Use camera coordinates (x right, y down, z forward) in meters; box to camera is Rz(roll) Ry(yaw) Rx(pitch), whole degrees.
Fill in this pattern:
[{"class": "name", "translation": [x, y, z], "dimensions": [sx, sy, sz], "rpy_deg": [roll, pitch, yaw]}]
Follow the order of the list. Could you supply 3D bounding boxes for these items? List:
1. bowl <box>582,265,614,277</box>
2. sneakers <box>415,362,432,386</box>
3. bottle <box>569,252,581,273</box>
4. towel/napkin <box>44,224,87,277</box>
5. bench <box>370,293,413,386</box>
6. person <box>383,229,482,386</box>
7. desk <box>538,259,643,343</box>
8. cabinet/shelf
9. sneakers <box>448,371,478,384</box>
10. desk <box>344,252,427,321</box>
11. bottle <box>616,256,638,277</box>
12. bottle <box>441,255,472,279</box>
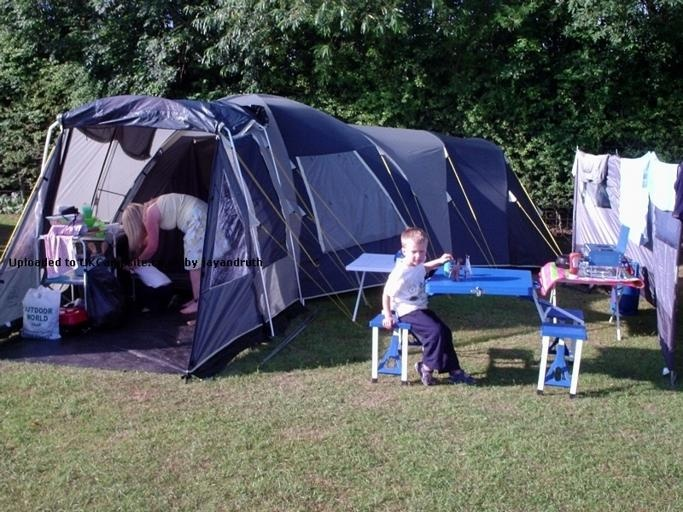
[{"class": "bowl", "translation": [2.750, 0.172, 7.128], "dimensions": [0.232, 0.064, 0.144], "rpy_deg": [1, 18, 14]}, {"class": "sneakers", "translation": [0.816, 1.165, 6.613], "dimensions": [0.113, 0.294, 0.102], "rpy_deg": [-9, -6, 17]}, {"class": "bottle", "translation": [2.521, 0.080, 7.218], "dimensions": [0.131, 0.226, 0.261], "rpy_deg": [1, -2, 20]}, {"class": "towel/napkin", "translation": [-3.244, -0.072, 7.754], "dimensions": [0.385, 0.567, 0.160], "rpy_deg": [-2, 5, -9]}, {"class": "bench", "translation": [0.513, 0.928, 6.829], "dimensions": [0.522, 0.843, 0.564], "rpy_deg": [0, 4, 2]}, {"class": "person", "translation": [0.906, 0.507, 6.649], "dimensions": [0.837, 1.506, 0.805], "rpy_deg": [0, 2, 35]}, {"class": "desk", "translation": [2.649, 0.468, 7.381], "dimensions": [0.953, 0.588, 1.056], "rpy_deg": [2, 5, 28]}, {"class": "cabinet/shelf", "translation": [-3.116, 0.411, 8.162], "dimensions": [1.042, 1.177, 0.673], "rpy_deg": [-19, -11, 35]}, {"class": "sneakers", "translation": [1.205, 1.194, 6.676], "dimensions": [0.225, 0.110, 0.132], "rpy_deg": [0, 6, 8]}, {"class": "desk", "translation": [0.389, 0.416, 8.022], "dimensions": [0.700, 0.782, 0.758], "rpy_deg": [3, 6, 13]}, {"class": "bottle", "translation": [3.110, 0.120, 7.214], "dimensions": [0.172, 0.228, 0.366], "rpy_deg": [0, -2, 29]}, {"class": "bottle", "translation": [1.263, 0.126, 7.229], "dimensions": [0.219, 0.320, 0.323], "rpy_deg": [-6, 10, -42]}]
